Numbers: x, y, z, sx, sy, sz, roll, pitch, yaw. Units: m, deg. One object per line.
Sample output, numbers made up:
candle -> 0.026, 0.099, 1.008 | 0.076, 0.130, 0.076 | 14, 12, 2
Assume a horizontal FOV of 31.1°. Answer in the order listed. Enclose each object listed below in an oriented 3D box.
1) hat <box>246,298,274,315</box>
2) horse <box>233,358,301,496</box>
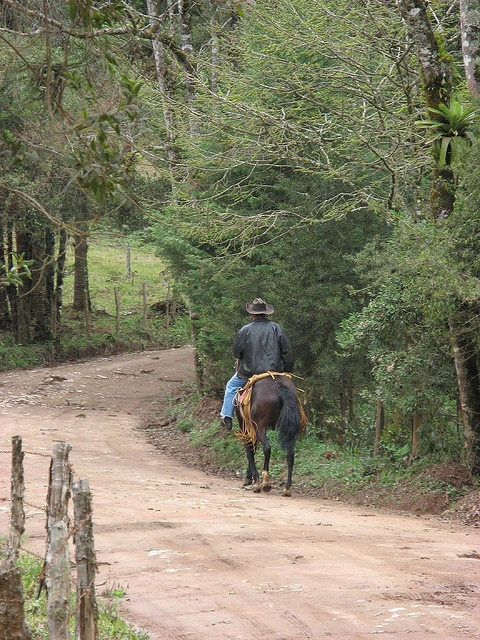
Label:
hat -> 0.261, -0.193, 12.333 | 0.275, 0.122, 0.319 | -1, 9, -7
horse -> 0.383, 1.529, 11.686 | 0.689, 1.618, 1.168 | 0, -2, -27
